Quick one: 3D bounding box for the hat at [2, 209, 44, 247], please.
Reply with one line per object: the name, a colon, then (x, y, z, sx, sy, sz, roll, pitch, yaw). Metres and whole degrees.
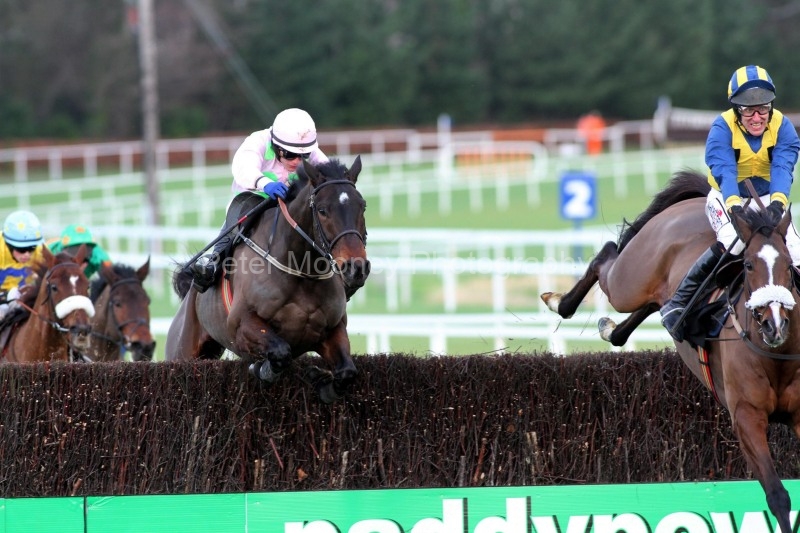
hat: (-4.729, -0.451, 18.829, 0.472, 0.376, 0.463, -18, 38, -16)

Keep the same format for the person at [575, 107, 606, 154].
person: (3.709, -2.640, 29.710, 0.669, 0.685, 1.759, -25, 7, 11)

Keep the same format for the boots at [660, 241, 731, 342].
boots: (3.267, 0.250, 16.961, 0.470, 1.288, 0.386, 30, 7, -17)

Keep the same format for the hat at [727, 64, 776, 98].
hat: (3.909, -2.026, 16.878, 0.483, 0.408, 0.407, 1, 37, 10)

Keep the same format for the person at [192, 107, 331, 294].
person: (-1.453, -0.991, 18.468, 1.142, 1.155, 2.577, 0, -10, -16)

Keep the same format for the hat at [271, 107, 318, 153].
hat: (-1.220, -1.588, 17.620, 0.515, 0.363, 0.689, 4, 20, -16)

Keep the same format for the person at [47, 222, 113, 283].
person: (-4.491, -0.273, 20.602, 0.554, 0.997, 1.803, -1, 8, -19)

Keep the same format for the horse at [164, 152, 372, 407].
horse: (-1.656, 0.300, 18.204, 1.356, 2.826, 4.472, 0, -7, -33)
